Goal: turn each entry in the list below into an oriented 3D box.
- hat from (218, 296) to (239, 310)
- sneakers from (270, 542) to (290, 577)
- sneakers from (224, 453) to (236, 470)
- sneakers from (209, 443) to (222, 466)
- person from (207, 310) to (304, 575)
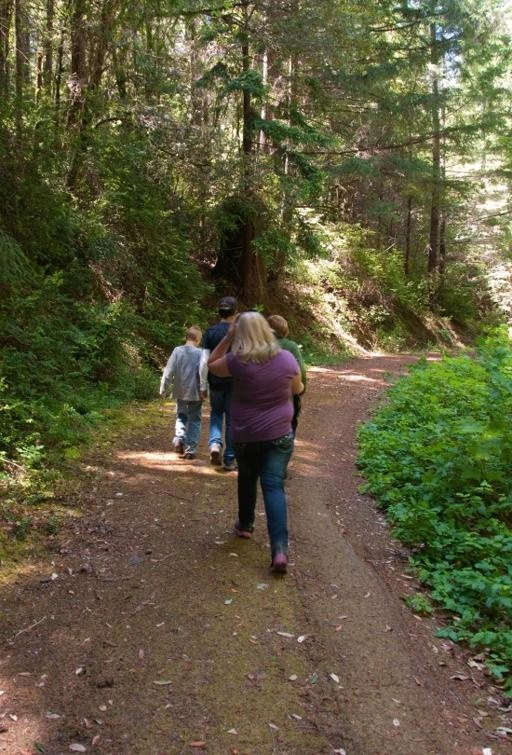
[{"bbox_3d":[-0.205,-0.727,6.282,0.195,0.129,0.301,4,6,6],"label":"hat"},{"bbox_3d":[0.169,1.307,4.565,0.099,0.120,0.282,1,-33,2],"label":"sneakers"},{"bbox_3d":[-0.291,0.918,7.001,0.081,0.219,0.158,-2,17,6],"label":"sneakers"},{"bbox_3d":[-0.430,0.802,6.839,0.105,0.276,0.118,-1,44,-1],"label":"sneakers"},{"bbox_3d":[0.015,0.445,4.570,0.572,1.796,0.618,5,5,18],"label":"person"}]
